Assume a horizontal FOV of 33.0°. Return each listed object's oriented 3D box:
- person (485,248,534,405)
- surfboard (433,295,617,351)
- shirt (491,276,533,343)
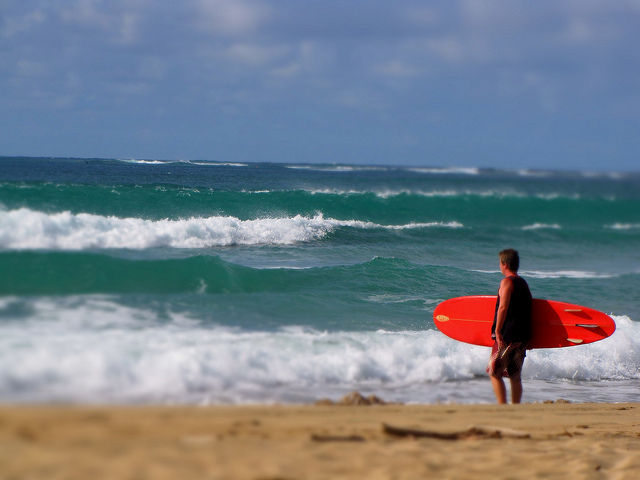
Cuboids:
[{"bbox_3d":[3.534,1.638,20.298,0.839,2.912,0.301,-2,4,8],"label":"person"},{"bbox_3d":[3.832,1.617,21.441,0.575,1.086,4.196,14,-10,-37],"label":"surfboard"},{"bbox_3d":[3.750,1.314,20.508,0.832,1.126,0.818,5,5,12],"label":"shirt"}]
